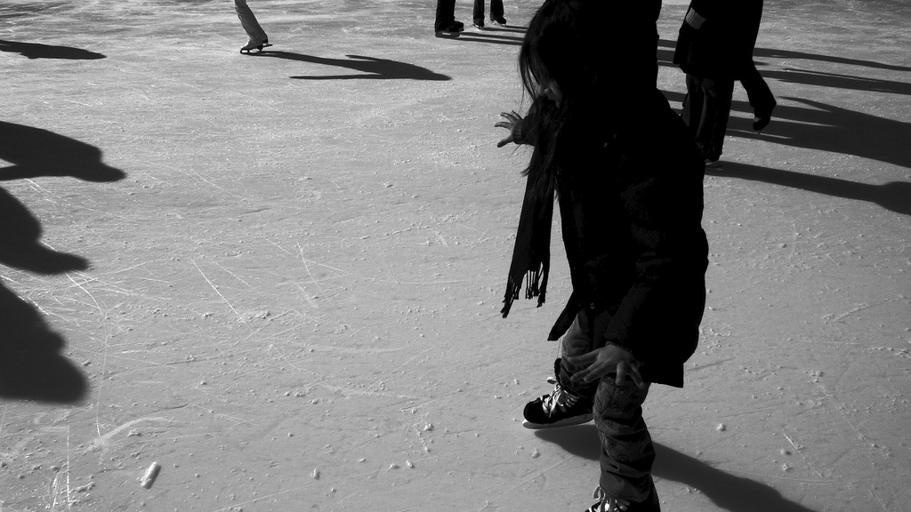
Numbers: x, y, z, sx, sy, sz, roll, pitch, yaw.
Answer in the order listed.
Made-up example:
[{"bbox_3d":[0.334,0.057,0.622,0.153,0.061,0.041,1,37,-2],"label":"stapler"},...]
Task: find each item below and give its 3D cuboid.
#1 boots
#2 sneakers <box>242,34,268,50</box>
[{"bbox_3d":[0.578,0.849,4.466,0.550,0.335,0.194,2,-1,-34],"label":"boots"},{"bbox_3d":[-2.741,-3.080,10.570,0.571,0.118,0.200,0,8,21],"label":"sneakers"}]
